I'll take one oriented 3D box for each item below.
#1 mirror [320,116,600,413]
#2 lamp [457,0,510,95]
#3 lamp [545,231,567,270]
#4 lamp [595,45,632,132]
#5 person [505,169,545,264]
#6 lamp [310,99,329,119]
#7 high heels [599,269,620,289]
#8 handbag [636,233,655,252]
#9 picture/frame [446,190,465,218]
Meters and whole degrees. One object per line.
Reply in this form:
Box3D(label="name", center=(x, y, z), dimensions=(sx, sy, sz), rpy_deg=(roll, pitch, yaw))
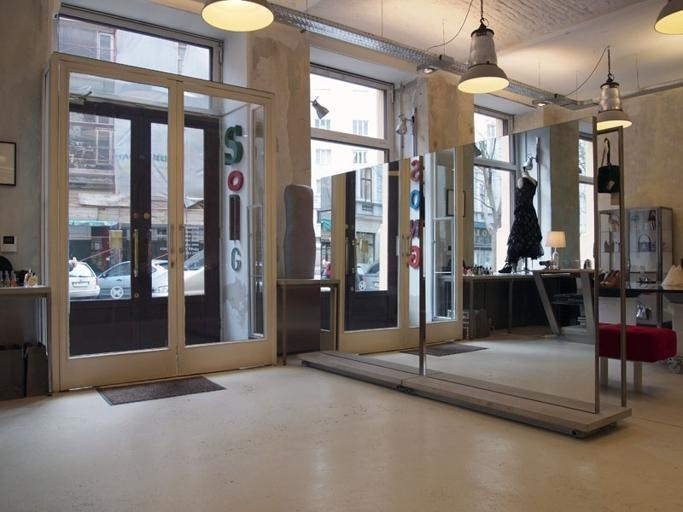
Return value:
Box3D(label="mirror", center=(1.092, 0.223, 5.050), dimensions=(0.039, 2.261, 2.851), rpy_deg=(1, -2, -36))
Box3D(label="lamp", center=(1.443, -2.081, 5.323), dimensions=(0.488, 0.771, 0.347), rpy_deg=(2, 5, 19))
Box3D(label="lamp", center=(1.779, -0.051, 4.337), dimensions=(0.040, 0.308, 0.163), rpy_deg=(-3, 6, -33))
Box3D(label="lamp", center=(3.516, -2.244, 6.848), dimensions=(0.451, 1.018, 0.482), rpy_deg=(-4, 3, -11))
Box3D(label="person", center=(1.572, -0.297, 4.473), dimensions=(0.082, 0.781, 0.301), rpy_deg=(-5, 7, -43))
Box3D(label="lamp", center=(-0.300, -2.106, 7.499), dimensions=(0.303, 0.287, 0.119), rpy_deg=(-3, 6, -33))
Box3D(label="high heels", center=(2.252, 0.201, 4.369), dimensions=(0.149, 0.190, 0.132), rpy_deg=(15, 11, 38))
Box3D(label="handbag", center=(4.790, -0.185, 8.230), dimensions=(0.145, 0.259, 0.245), rpy_deg=(1, -3, -28))
Box3D(label="picture/frame", center=(1.099, -0.504, 5.012), dimensions=(0.021, 0.311, 0.238), rpy_deg=(-1, 3, -36))
